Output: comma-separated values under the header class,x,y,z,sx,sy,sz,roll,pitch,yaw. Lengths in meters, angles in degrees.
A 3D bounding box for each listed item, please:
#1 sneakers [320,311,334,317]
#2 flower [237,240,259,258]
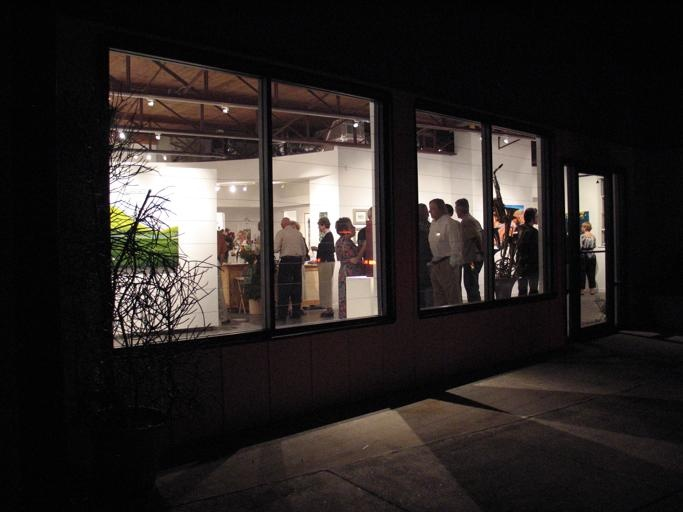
class,x,y,z,sx,sy,sz,roll,pitch,yaw
sneakers,-0.115,0.446,4.173,0.036,0.045,0.111,-5,-9,30
flower,-0.679,-0.061,3.861,0.123,0.079,0.114,-6,-1,29
